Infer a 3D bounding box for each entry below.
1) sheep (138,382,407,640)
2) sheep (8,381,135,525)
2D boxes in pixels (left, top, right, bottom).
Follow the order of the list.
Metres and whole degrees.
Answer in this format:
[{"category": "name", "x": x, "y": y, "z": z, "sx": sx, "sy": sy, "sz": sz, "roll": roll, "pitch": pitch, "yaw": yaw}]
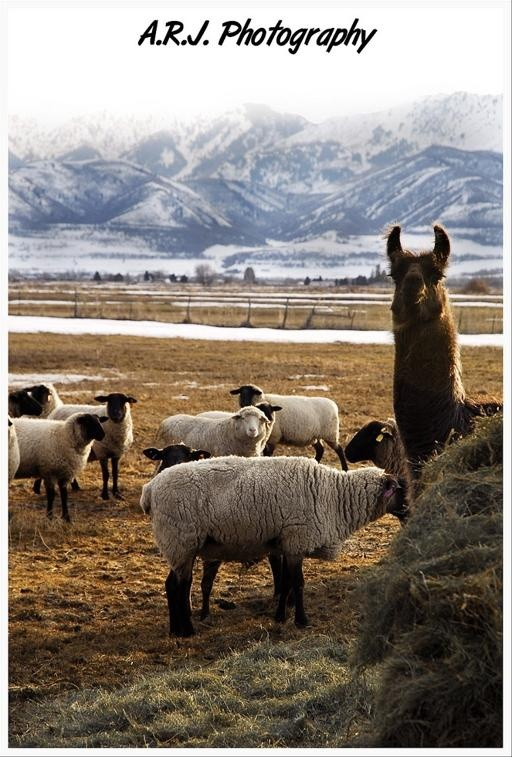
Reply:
[{"category": "sheep", "x": 0.094, "y": 1.526, "z": 12.523, "sx": 2.874, "sy": 2.413, "sz": 1.255, "roll": -2, "pitch": 0, "yaw": -6}, {"category": "sheep", "x": -2.416, "y": 0.870, "z": 16.181, "sx": 0.840, "sy": 1.673, "sz": 2.162, "roll": -1, "pitch": -1, "yaw": -38}]
